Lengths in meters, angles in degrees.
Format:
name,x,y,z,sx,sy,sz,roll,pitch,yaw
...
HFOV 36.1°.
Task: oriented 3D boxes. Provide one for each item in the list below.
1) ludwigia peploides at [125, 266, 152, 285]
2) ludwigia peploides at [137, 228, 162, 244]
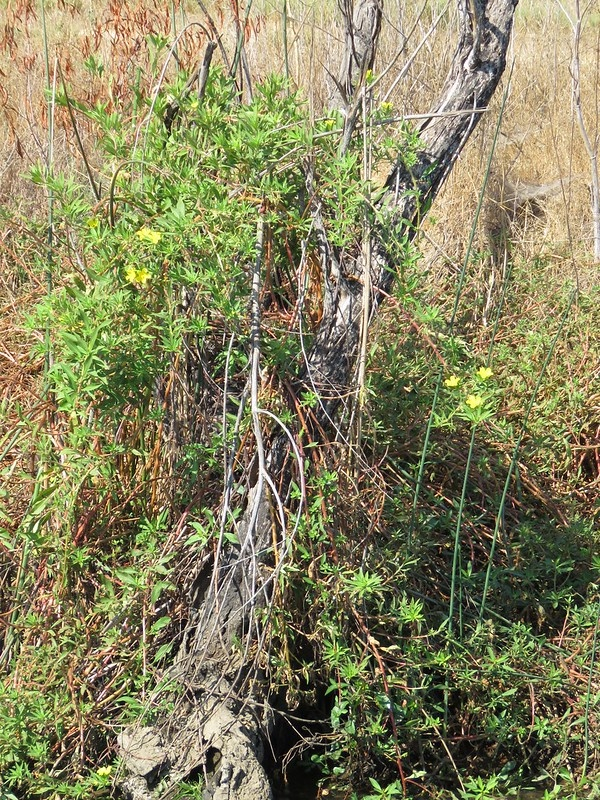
name,x,y,z,sx,sy,sz,roll,pitch,yaw
ludwigia peploides,-0.415,-0.308,2.384,0.065,0.029,0.059,-16,49,-19
ludwigia peploides,-0.395,-0.422,2.384,0.050,0.042,0.109,-1,7,-39
